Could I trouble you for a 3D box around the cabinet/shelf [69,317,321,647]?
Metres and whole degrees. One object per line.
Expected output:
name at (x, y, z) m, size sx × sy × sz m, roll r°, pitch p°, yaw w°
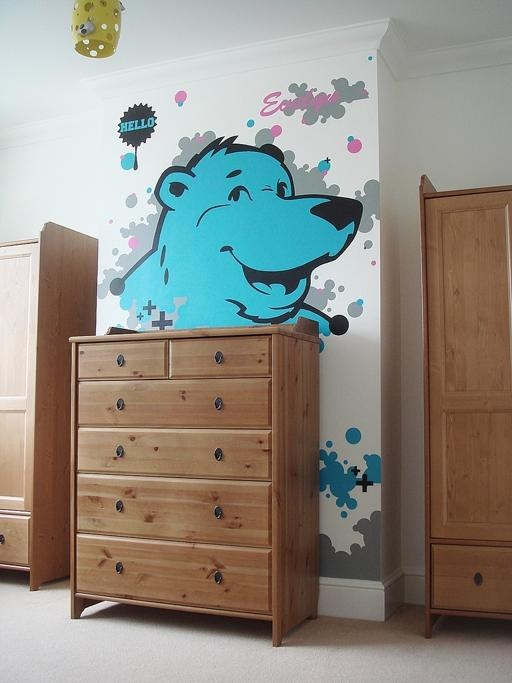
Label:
cabinet/shelf at (-0.230, 0.566, 2.443) m, size 1.040 × 1.457 × 0.547 m, roll -2°, pitch -6°, yaw 19°
